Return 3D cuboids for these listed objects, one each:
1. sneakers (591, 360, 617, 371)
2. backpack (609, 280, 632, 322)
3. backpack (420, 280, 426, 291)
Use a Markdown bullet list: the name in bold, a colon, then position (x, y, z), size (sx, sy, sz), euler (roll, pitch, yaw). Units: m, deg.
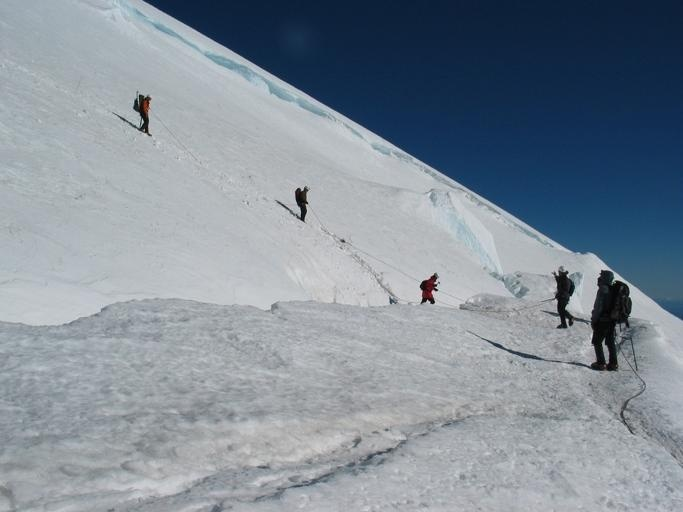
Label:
- **sneakers**: position (4.411, 1.842, 11.018), size (0.403, 0.135, 0.138), euler (3, 2, 20)
- **backpack**: position (4.663, 0.767, 10.961), size (0.409, 0.662, 0.500), euler (17, 8, 22)
- **backpack**: position (2.184, 0.777, 17.308), size (0.152, 0.208, 0.469), euler (15, 7, 5)
